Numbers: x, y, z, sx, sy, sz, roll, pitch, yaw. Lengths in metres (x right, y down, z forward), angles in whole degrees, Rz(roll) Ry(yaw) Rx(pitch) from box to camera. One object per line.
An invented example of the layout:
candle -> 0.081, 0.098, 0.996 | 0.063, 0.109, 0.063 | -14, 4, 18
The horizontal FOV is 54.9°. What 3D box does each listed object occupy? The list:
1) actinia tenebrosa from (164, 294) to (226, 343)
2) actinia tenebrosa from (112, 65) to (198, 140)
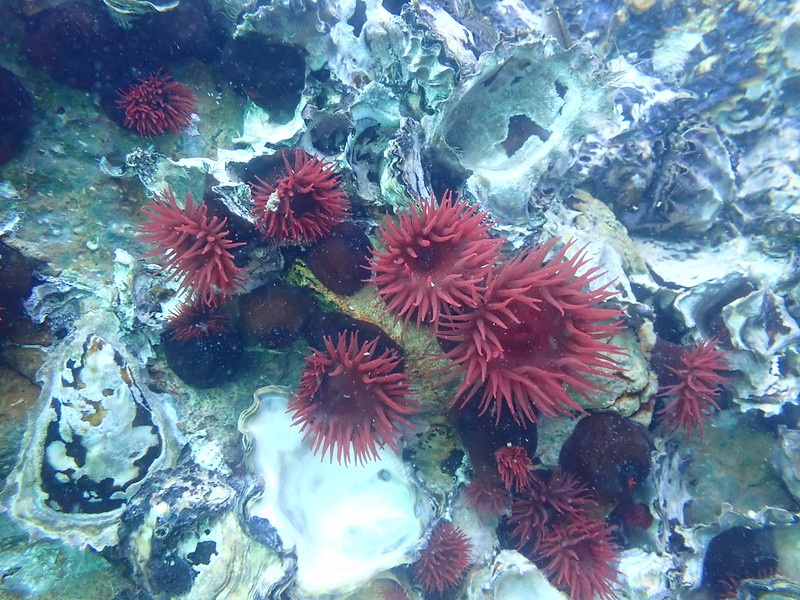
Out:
actinia tenebrosa -> -2.275, 0.221, 8.556 | 0.525, 0.526, 0.273 | -27, 7, -10
actinia tenebrosa -> -2.801, -2.236, 8.826 | 0.739, 0.778, 0.351 | 28, 5, -18
